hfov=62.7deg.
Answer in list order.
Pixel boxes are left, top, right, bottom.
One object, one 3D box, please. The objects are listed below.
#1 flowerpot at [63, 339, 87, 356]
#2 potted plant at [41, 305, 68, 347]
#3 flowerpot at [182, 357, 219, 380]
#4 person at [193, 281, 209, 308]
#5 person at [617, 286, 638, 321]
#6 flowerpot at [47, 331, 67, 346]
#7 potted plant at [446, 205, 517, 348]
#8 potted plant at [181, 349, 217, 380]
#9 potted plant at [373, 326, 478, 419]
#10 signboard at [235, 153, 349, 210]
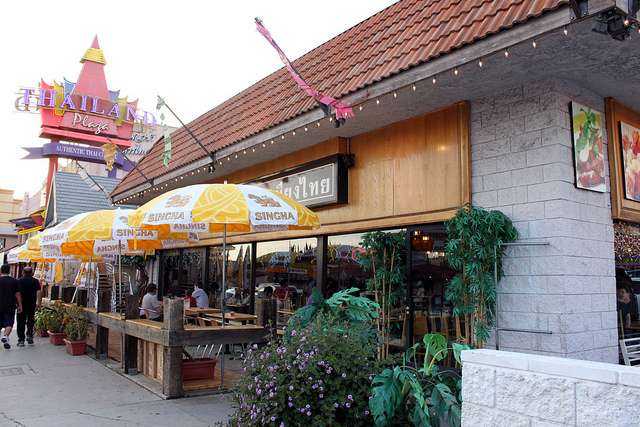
[{"bbox_3d":[-6.124,3.360,13.146,0.422,0.248,0.330,8,-11,-44],"label":"flowerpot"},{"bbox_3d":[-7.508,3.203,14.864,0.685,1.104,1.042,4,-9,-25],"label":"potted plant"},{"bbox_3d":[-2.423,3.064,10.464,0.594,0.251,0.405,2,-5,-19],"label":"flowerpot"},{"bbox_3d":[-3.459,2.358,15.167,0.403,0.706,1.014,3,-10,-13],"label":"person"},{"bbox_3d":[6.999,2.069,12.006,0.366,0.780,1.452,-5,-11,30],"label":"person"},{"bbox_3d":[-7.243,3.455,14.516,0.339,0.174,0.461,1,-1,-26],"label":"flowerpot"},{"bbox_3d":[2.879,1.119,9.525,1.163,2.513,0.700,-1,-10,10],"label":"potted plant"},{"bbox_3d":[-2.399,3.064,10.516,0.846,0.349,0.586,-1,-2,1],"label":"potted plant"},{"bbox_3d":[1.557,2.314,7.613,1.355,1.249,1.343,10,-12,-29],"label":"potted plant"},{"bbox_3d":[-0.348,-0.667,13.395,0.390,1.205,2.892,8,-12,-37],"label":"signboard"}]
